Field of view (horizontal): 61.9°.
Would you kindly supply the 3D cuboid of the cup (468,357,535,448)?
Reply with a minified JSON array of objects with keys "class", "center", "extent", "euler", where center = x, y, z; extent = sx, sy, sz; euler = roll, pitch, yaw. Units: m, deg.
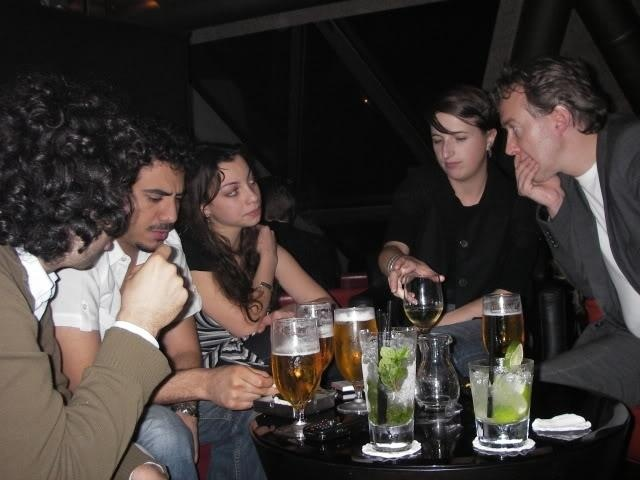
[{"class":"cup","center":[0.481,0.419,1.413],"extent":[0.206,0.241,0.208],"euler":[-1,-9,0]}]

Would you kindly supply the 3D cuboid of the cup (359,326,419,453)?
[{"class":"cup","center":[0.189,0.407,1.438],"extent":[0.150,0.323,0.108],"euler":[-1,-2,3]}]

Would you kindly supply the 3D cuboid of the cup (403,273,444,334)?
[{"class":"cup","center":[0.390,0.244,1.979],"extent":[0.123,0.215,0.150],"euler":[-2,-2,33]}]

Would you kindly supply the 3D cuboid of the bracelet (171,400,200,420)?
[{"class":"bracelet","center":[-0.525,0.655,2.069],"extent":[0.104,0.079,0.055],"euler":[28,30,-22]}]

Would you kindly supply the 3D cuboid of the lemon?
[{"class":"lemon","center":[0.509,0.378,1.415],"extent":[0.112,0.210,0.043],"euler":[0,-2,-23]}]
